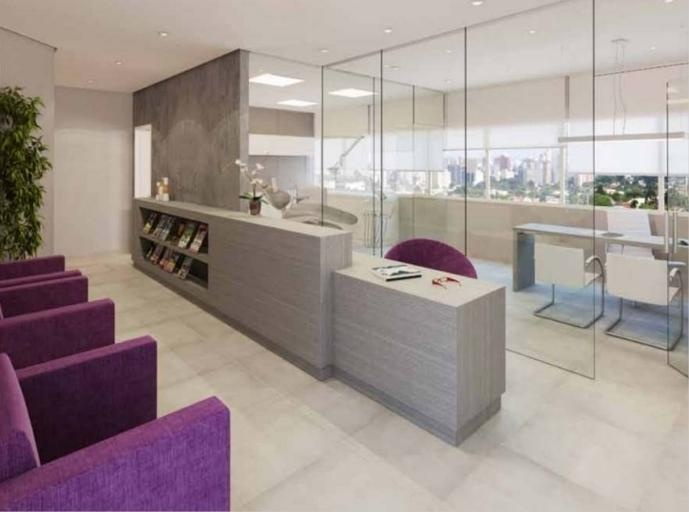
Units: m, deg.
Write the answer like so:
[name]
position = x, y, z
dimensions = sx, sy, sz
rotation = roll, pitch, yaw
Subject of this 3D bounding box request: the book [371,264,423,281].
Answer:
[book]
position = 0.422, 0.124, 3.724
dimensions = 0.409, 0.063, 0.344
rotation = -8, 14, -41

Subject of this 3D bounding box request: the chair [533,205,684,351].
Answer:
[chair]
position = 2.444, 0.261, 4.467
dimensions = 0.798, 0.686, 1.327
rotation = -2, 4, -30

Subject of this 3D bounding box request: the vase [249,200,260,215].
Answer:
[vase]
position = -0.959, -0.519, 5.116
dimensions = 0.128, 0.152, 0.136
rotation = 3, 6, 12
